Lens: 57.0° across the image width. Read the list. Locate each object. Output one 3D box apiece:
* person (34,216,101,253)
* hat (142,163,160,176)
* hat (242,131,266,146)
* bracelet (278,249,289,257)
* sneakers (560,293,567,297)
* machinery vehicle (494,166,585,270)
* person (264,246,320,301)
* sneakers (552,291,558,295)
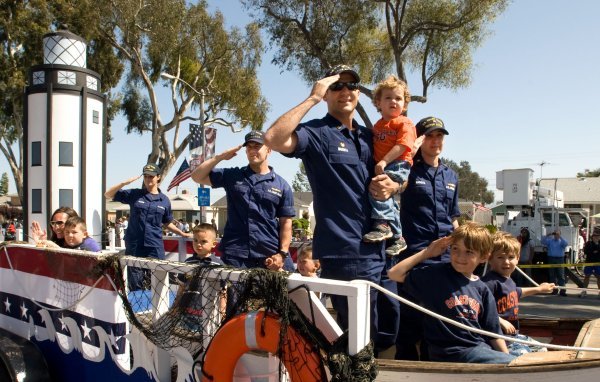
[{"bbox_3d":[-4.210,0.770,9.866,0.941,0.425,0.318,1,2,5],"label":"person"},{"bbox_3d":[-2.922,-0.415,10.934,0.233,0.243,0.533,0,-3,11],"label":"hat"},{"bbox_3d":[-0.720,-0.839,8.583,0.290,0.296,0.665,1,-3,-8],"label":"hat"},{"bbox_3d":[-0.264,0.986,8.730,0.092,0.073,0.119,0,0,-33],"label":"bracelet"},{"bbox_3d":[7.782,3.064,16.332,0.185,0.190,0.090,-2,-3,15],"label":"sneakers"},{"bbox_3d":[9.442,1.247,21.356,3.016,3.080,5.837,-1,-8,38],"label":"machinery vehicle"},{"bbox_3d":[-0.124,1.134,7.620,0.572,1.209,0.655,-14,-22,40],"label":"person"},{"bbox_3d":[7.737,3.097,16.782,0.117,0.132,0.151,-1,-9,6],"label":"sneakers"}]
